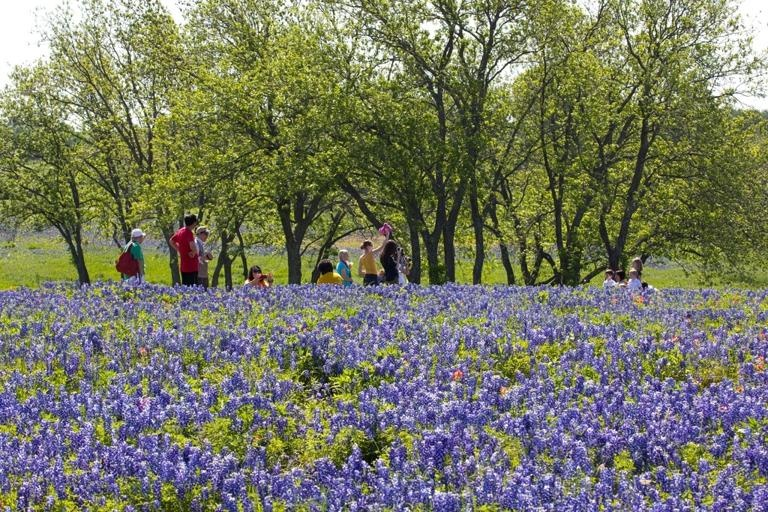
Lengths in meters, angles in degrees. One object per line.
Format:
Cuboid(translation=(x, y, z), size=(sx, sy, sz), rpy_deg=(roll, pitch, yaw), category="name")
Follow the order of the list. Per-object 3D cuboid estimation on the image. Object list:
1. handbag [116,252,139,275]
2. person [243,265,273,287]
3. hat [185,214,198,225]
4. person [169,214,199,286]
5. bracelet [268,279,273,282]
Cuboid(translation=(-8.071, 0.223, 31.208), size=(0.716, 0.855, 0.413), rpy_deg=(6, 2, -5), category="handbag")
Cuboid(translation=(-3.994, 0.706, 31.236), size=(0.761, 0.276, 0.839), rpy_deg=(-2, -8, 0), category="person")
Cuboid(translation=(-5.823, -1.089, 29.773), size=(0.327, 0.352, 0.481), rpy_deg=(0, -1, -17), category="hat")
Cuboid(translation=(-5.924, -0.217, 29.781), size=(0.790, 2.113, 1.227), rpy_deg=(0, 0, -22), category="person")
Cuboid(translation=(-3.612, 0.756, 31.249), size=(0.091, 0.131, 0.114), rpy_deg=(-7, -15, -9), category="bracelet")
